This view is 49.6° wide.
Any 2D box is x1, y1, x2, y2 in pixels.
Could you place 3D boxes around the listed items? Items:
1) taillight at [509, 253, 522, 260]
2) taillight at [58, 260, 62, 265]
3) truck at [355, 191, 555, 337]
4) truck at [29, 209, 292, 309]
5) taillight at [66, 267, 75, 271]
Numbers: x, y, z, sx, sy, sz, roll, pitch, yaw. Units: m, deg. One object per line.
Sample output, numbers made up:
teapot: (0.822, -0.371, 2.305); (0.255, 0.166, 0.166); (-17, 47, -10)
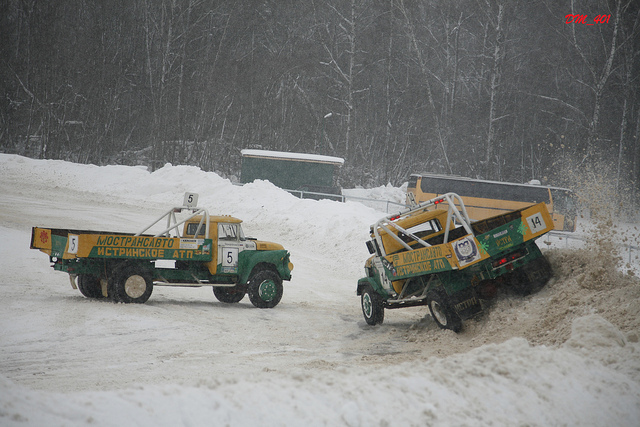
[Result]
taillight: (7.818, 1.755, 27.652); (0.510, 0.261, 0.032); (2, 2, -11)
taillight: (-10.822, 2.065, 28.782); (0.176, 0.153, 0.063); (2, 2, -4)
truck: (4.808, 2.413, 30.109); (4.346, 4.695, 8.062); (-24, 7, -25)
truck: (-7.074, 2.842, 31.234); (11.192, 5.422, 5.012); (2, 3, -23)
taillight: (-10.388, 2.368, 28.844); (0.272, 0.130, 0.040); (1, 2, -28)
